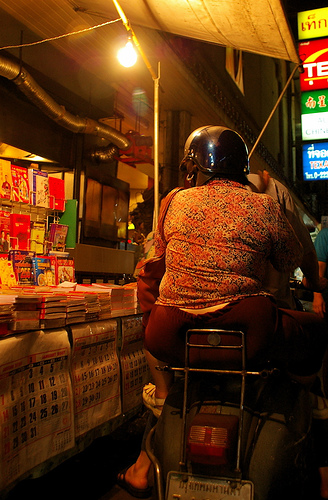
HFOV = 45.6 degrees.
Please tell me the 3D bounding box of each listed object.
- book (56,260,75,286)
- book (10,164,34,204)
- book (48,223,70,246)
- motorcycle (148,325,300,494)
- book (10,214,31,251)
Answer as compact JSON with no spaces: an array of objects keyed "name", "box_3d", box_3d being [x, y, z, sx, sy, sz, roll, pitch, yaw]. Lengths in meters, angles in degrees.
[{"name":"book","box_3d":[-1.143,0.256,4.451,0.085,0.255,0.263,-6,-8,24]},{"name":"book","box_3d":[-1.757,-0.828,4.910,0.439,0.428,0.050,13,23,31]},{"name":"book","box_3d":[-1.524,-0.233,5.622,0.130,0.378,0.388,14,7,34]},{"name":"motorcycle","box_3d":[0.190,0.501,1.257,0.534,0.543,0.480,-1,3,4]},{"name":"book","box_3d":[-1.807,-0.194,4.797,0.259,0.431,0.245,2,-10,-42]}]
